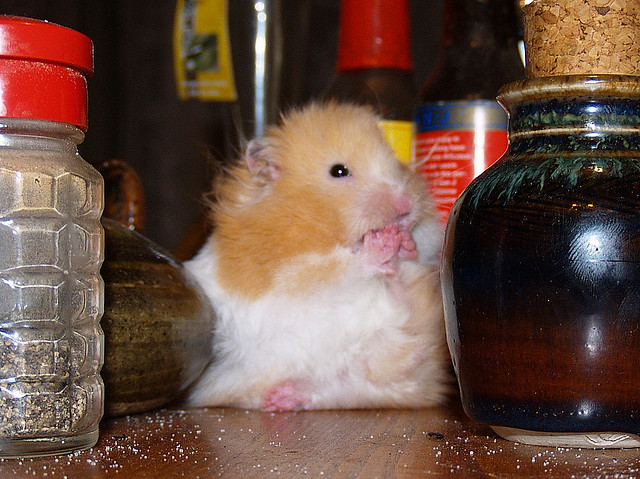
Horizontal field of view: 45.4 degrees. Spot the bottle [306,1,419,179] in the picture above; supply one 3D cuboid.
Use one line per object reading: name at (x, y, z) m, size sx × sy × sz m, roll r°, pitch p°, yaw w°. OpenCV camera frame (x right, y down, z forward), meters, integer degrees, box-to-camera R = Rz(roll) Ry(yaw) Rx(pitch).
bottle at (0.056, -0.156, 0.780) m, size 0.115 × 0.160 × 0.167 m, roll 8°, pitch 22°, yaw 5°
